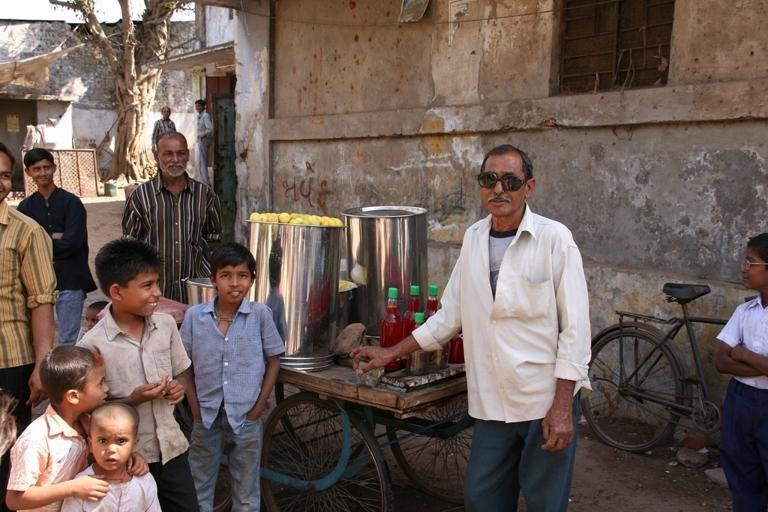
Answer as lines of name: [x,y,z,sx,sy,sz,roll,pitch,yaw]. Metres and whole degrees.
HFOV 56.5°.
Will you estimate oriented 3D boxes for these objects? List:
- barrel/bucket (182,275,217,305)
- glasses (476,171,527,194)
barrel/bucket: [-1.318,0.244,5.134,0.194,0.195,0.241,0,-1,5]
glasses: [0.705,-0.451,4.330,0.295,0.111,0.109,3,6,5]
